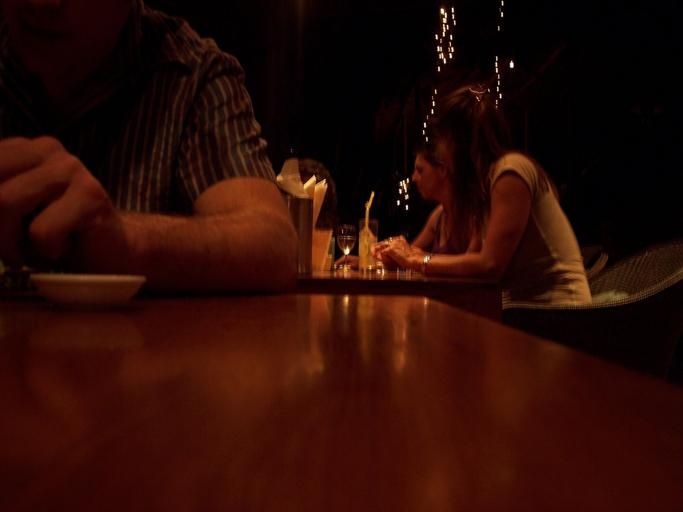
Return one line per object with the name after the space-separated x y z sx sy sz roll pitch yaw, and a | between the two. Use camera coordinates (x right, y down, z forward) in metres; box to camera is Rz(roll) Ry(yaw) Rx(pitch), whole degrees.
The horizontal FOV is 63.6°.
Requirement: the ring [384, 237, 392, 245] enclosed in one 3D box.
0.203 -0.059 2.372 0.026 0.013 0.034 -25 20 1 | ring

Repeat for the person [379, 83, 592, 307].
0.571 -0.212 2.507 0.815 1.256 0.794 1 -4 13 | person

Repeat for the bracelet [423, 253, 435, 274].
0.329 0.030 2.103 0.018 0.064 0.053 10 27 -8 | bracelet
